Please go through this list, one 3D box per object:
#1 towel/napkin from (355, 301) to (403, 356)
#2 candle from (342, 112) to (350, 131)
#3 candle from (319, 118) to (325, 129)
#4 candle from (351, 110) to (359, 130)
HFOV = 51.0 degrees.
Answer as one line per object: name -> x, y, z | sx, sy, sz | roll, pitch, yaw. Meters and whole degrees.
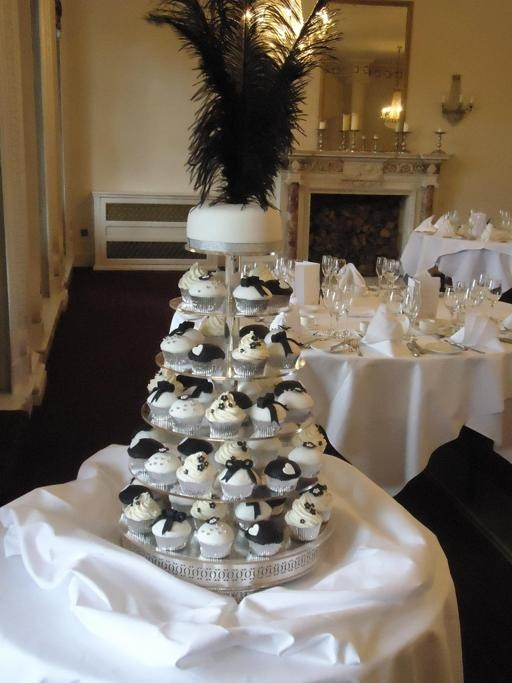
towel/napkin -> 0.414, -0.036, 1.796 | 0.187, 0.178, 0.108 | 3, 10, 8
candle -> 1.086, -2.653, 6.499 | 0.102, 0.209, 0.157 | 4, 14, 4
candle -> 0.775, -2.588, 6.413 | 0.114, 0.124, 0.111 | -2, 24, 0
candle -> 1.178, -2.631, 6.444 | 0.103, 0.223, 0.242 | 5, 14, 8
